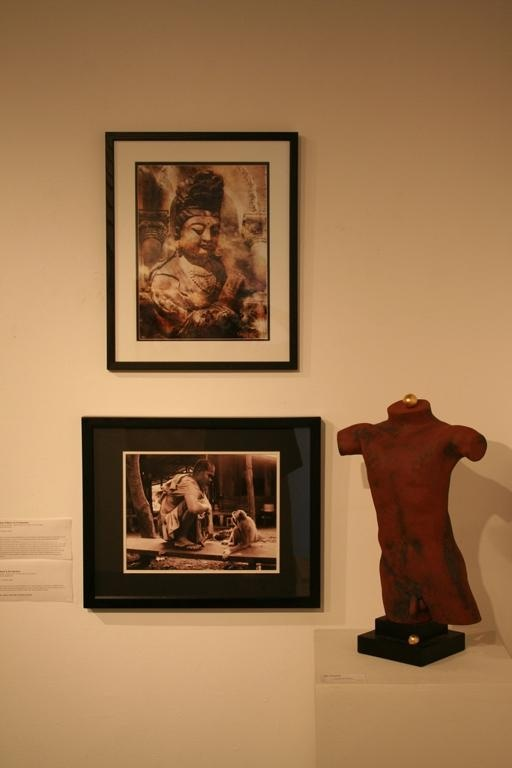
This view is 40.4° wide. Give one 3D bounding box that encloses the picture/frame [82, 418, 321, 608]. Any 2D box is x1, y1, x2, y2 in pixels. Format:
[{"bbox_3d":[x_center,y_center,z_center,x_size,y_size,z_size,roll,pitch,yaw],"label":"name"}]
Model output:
[{"bbox_3d":[-0.094,0.274,1.438,0.386,0.319,0.019,0,1,4],"label":"picture/frame"}]
